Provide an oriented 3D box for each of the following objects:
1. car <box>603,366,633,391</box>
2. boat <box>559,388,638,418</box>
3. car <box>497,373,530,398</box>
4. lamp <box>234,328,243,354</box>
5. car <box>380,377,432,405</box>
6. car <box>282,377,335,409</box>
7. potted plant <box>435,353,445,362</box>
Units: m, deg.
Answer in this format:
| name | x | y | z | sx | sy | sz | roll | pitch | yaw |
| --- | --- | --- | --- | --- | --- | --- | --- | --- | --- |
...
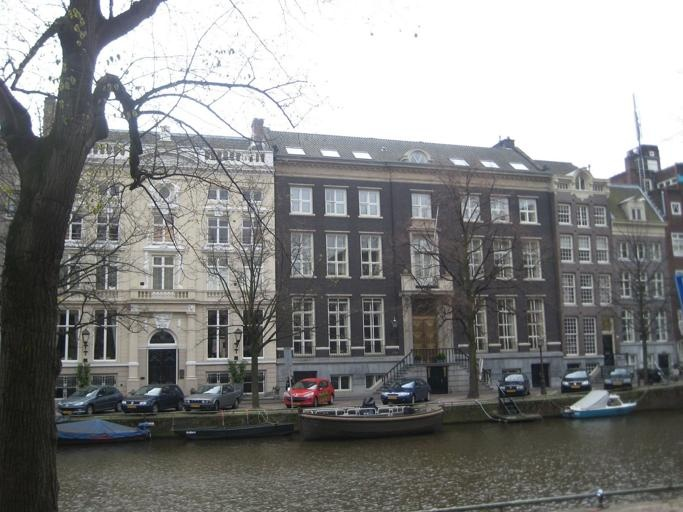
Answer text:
| name | x | y | z | sx | sy | sz | roll | pitch | yaw |
| --- | --- | --- | --- | --- | --- | --- | --- | --- | --- |
| car | 15.802 | 6.960 | 48.257 | 1.491 | 1.263 | 1.596 | 9 | -17 | -41 |
| boat | 12.974 | 7.551 | 42.573 | 3.617 | 1.180 | 1.515 | 0 | -4 | -23 |
| car | 9.766 | 7.171 | 47.259 | 1.283 | 0.921 | 2.697 | -5 | -15 | 14 |
| lamp | -6.140 | 4.995 | 49.904 | 0.436 | 1.489 | 0.610 | 0 | -12 | -6 |
| car | 3.432 | 7.154 | 44.977 | 1.689 | 1.499 | 2.816 | -11 | -16 | 36 |
| car | -1.687 | 7.282 | 45.177 | 1.329 | 1.590 | 3.274 | -7 | -14 | 22 |
| potted plant | 6.093 | 6.280 | 52.477 | 0.534 | 0.751 | 0.524 | 7 | -6 | -7 |
